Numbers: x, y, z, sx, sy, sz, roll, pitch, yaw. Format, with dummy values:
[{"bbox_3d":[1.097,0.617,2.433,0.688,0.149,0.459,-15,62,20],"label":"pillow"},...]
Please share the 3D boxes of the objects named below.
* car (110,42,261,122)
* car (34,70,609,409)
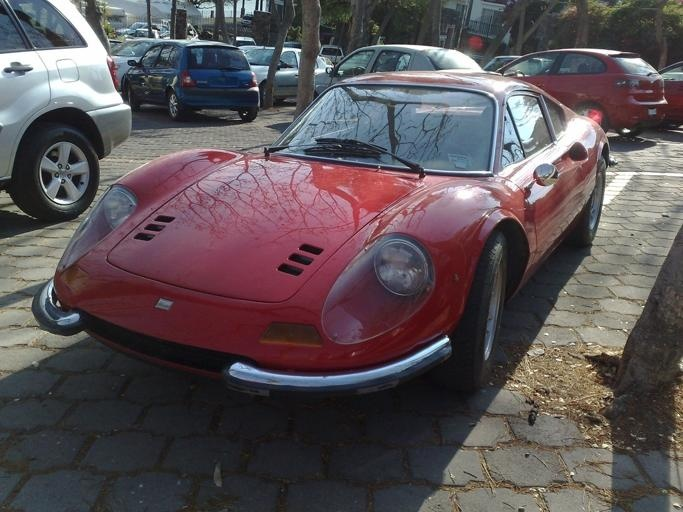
[{"bbox_3d":[-4.201,-4.647,12.295,2.156,1.256,3.483,-18,32,-40],"label":"car"},{"bbox_3d":[0.091,-0.258,2.934,2.055,1.599,3.058,19,30,32],"label":"car"}]
